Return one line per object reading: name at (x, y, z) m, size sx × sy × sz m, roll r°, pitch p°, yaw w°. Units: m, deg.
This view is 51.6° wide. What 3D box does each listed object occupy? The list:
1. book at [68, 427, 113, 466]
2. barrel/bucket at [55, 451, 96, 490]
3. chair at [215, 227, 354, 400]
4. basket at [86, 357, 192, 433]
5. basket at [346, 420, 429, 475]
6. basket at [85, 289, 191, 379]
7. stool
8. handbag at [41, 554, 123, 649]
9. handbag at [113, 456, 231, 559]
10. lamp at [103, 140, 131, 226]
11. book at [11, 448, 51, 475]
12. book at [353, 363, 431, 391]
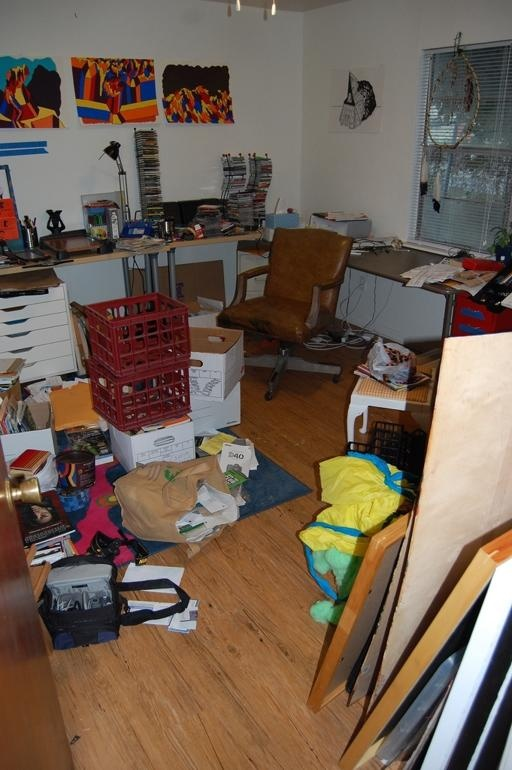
book at (-0.888, 0.368, 2.873) m, size 0.163 × 0.054 × 0.269 m, roll -10°, pitch 29°, yaw -29°
barrel/bucket at (-0.847, 0.388, 2.522) m, size 0.180 × 0.139 × 0.169 m, roll 4°, pitch 0°, yaw 0°
chair at (0.220, -0.562, 3.718) m, size 0.857 × 0.988 × 0.915 m, roll -13°, pitch 27°, yaw -22°
basket at (-0.553, 0.042, 2.581) m, size 0.386 × 0.255 × 0.386 m, roll -14°, pitch 29°, yaw -25°
basket at (0.667, 0.292, 2.499) m, size 0.214 × 0.118 × 0.355 m, roll 7°, pitch 7°, yaw 8°
basket at (-0.610, -0.270, 2.588) m, size 0.486 × 0.313 × 0.485 m, roll -21°, pitch 34°, yaw -32°
stool at (0.672, 0.149, 2.725) m, size 0.414 × 0.330 × 0.410 m, roll 5°, pitch 36°, yaw 10°
handbag at (-0.583, 0.724, 1.768) m, size 0.252 × 0.270 × 0.187 m, roll -6°, pitch 22°, yaw -15°
handbag at (-0.313, 0.393, 2.248) m, size 0.458 × 0.427 × 0.168 m, roll -4°, pitch -3°, yaw 16°
lamp at (-1.138, -1.640, 4.313) m, size 0.169 × 0.618 × 0.261 m, roll -1°, pitch 21°, yaw -2°
book at (-0.942, 0.315, 2.232) m, size 0.101 × 0.024 × 0.102 m, roll 3°, pitch 28°, yaw 11°
book at (0.675, -0.024, 2.602) m, size 0.175 × 0.027 × 0.192 m, roll 23°, pitch 34°, yaw 21°
